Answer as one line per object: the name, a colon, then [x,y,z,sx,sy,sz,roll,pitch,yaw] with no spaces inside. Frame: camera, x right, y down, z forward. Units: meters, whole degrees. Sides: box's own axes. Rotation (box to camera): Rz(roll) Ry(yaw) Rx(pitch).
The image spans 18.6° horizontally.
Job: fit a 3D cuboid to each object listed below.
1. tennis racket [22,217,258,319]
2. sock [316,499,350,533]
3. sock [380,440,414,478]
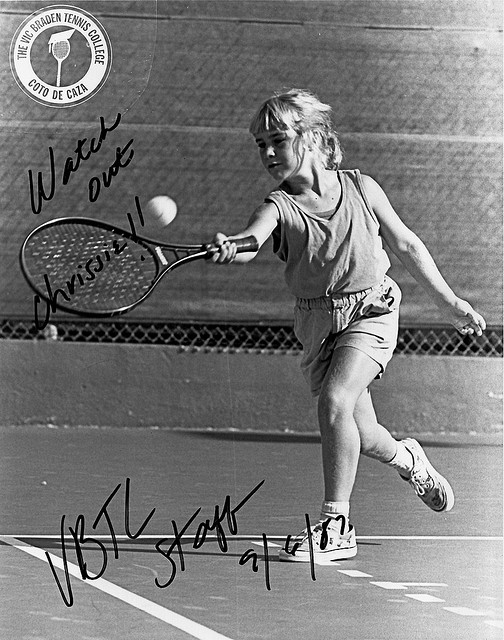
tennis racket: [-0.426,-0.153,4.701,0.554,0.292,0.861,1,-1,-9]
sock: [0.249,0.586,4.671,0.075,0.109,0.102,0,-11,2]
sock: [0.501,0.467,5.121,0.053,0.070,0.162,-21,-63,46]
